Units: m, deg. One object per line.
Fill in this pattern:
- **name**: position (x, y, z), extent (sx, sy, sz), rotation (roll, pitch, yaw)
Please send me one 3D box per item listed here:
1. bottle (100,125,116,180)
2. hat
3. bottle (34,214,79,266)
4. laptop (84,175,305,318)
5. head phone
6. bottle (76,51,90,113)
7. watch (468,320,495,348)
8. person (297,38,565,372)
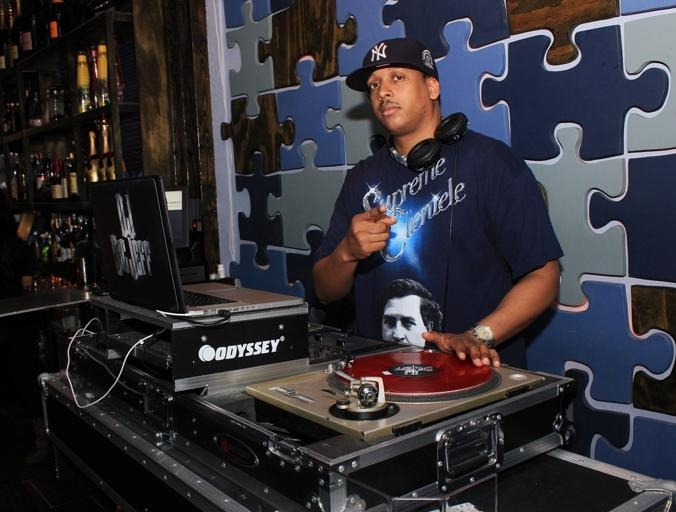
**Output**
- **bottle**: position (-1.422, -0.659, 3.730), extent (0.078, 0.364, 0.421), rotation (-5, 6, -21)
- **hat**: position (0.183, -0.698, 2.169), extent (0.250, 0.131, 0.201), rotation (3, 3, -5)
- **bottle**: position (-2.079, -0.118, 4.507), extent (0.327, 0.360, 0.136), rotation (-3, -9, 40)
- **laptop**: position (-0.457, -0.022, 1.694), extent (0.373, 0.343, 0.510), rotation (-3, 5, -35)
- **head phone**: position (0.311, -0.391, 2.039), extent (0.191, 0.069, 0.183), rotation (-25, 31, 58)
- **bottle**: position (-1.641, -1.131, 3.923), extent (0.090, 0.383, 0.220), rotation (-5, 6, -21)
- **watch**: position (0.439, 0.239, 1.804), extent (0.061, 0.074, 0.068), rotation (-36, 39, -2)
- **person**: position (0.295, -0.229, 2.094), extent (0.434, 1.072, 0.864), rotation (-8, 7, -42)
